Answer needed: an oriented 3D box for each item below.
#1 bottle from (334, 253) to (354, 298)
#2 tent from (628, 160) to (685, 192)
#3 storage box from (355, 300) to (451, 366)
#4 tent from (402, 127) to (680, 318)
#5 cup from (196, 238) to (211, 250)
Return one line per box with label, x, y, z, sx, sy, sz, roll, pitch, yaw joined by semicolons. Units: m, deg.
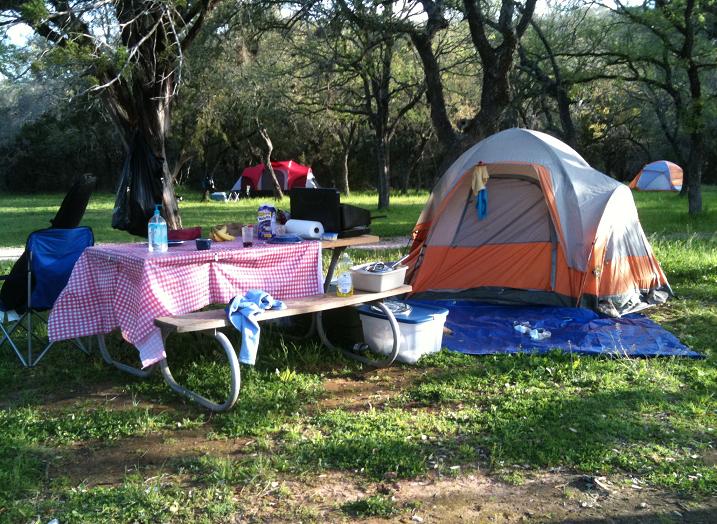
bottle;-0.181;0.206;8.096;0.228;0.485;0.246;1;-2;0
tent;14.246;-4.042;34.198;1.824;0.982;1.742;-6;8;-25
storage box;0.484;0.753;8.459;0.821;0.531;0.659;4;7;38
tent;2.538;-0.647;10.402;3.394;2.520;1.190;4;4;19
cup;-1.600;-0.186;7.447;0.106;0.086;0.117;1;-2;3
